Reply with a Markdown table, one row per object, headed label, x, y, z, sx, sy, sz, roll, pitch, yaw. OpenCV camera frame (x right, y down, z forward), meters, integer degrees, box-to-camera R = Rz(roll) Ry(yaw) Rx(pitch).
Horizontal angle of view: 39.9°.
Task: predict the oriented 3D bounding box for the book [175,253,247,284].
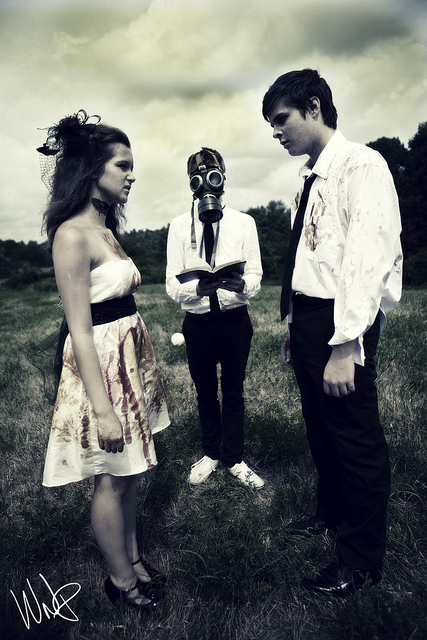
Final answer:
| label | x | y | z | sx | sy | sz | roll | pitch | yaw |
| --- | --- | --- | --- | --- | --- | --- | --- | --- | --- |
| book | -0.029 | -0.328 | 3.710 | 0.394 | 0.139 | 0.691 | -4 | 12 | -2 |

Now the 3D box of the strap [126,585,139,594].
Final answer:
| label | x | y | z | sx | sy | sz | roll | pitch | yaw |
| --- | --- | --- | --- | --- | --- | --- | --- | --- | --- |
| strap | -0.442 | 1.445 | 3.157 | 0.043 | 0.011 | 0.039 | -33 | -7 | 17 |

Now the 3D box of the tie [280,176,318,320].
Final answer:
| label | x | y | z | sx | sy | sz | roll | pitch | yaw |
| --- | --- | --- | --- | --- | --- | --- | --- | --- | --- |
| tie | 0.471 | -0.421 | 3.418 | 0.111 | 1.081 | 0.133 | 8 | 11 | 14 |

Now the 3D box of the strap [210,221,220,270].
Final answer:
| label | x | y | z | sx | sy | sz | roll | pitch | yaw |
| --- | --- | --- | --- | --- | --- | --- | --- | --- | --- |
| strap | 0.011 | -0.488 | 3.922 | 0.040 | 0.373 | 0.017 | 14 | -13 | -6 |

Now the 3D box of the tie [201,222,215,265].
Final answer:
| label | x | y | z | sx | sy | sz | roll | pitch | yaw |
| --- | --- | --- | --- | --- | --- | --- | --- | --- | --- |
| tie | -0.046 | -0.529 | 3.986 | 0.101 | 0.036 | 0.456 | -3 | 48 | 1 |

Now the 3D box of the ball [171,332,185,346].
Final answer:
| label | x | y | z | sx | sy | sz | roll | pitch | yaw |
| --- | --- | --- | --- | --- | --- | --- | --- | --- | --- |
| ball | -0.445 | 0.247 | 7.268 | 0.136 | 0.136 | 0.159 | -35 | 30 | 2 |

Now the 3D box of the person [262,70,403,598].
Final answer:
| label | x | y | z | sx | sy | sz | roll | pitch | yaw |
| --- | --- | --- | --- | --- | --- | --- | --- | --- | --- |
| person | 0.664 | 0.039 | 3.195 | 0.705 | 2.724 | 0.772 | -2 | 11 | 6 |

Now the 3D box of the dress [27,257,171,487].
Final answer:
| label | x | y | z | sx | sy | sz | roll | pitch | yaw |
| --- | --- | --- | --- | --- | --- | --- | --- | --- | --- |
| dress | -0.643 | 0.157 | 3.376 | 0.658 | 1.303 | 0.970 | -1 | 10 | 10 |
